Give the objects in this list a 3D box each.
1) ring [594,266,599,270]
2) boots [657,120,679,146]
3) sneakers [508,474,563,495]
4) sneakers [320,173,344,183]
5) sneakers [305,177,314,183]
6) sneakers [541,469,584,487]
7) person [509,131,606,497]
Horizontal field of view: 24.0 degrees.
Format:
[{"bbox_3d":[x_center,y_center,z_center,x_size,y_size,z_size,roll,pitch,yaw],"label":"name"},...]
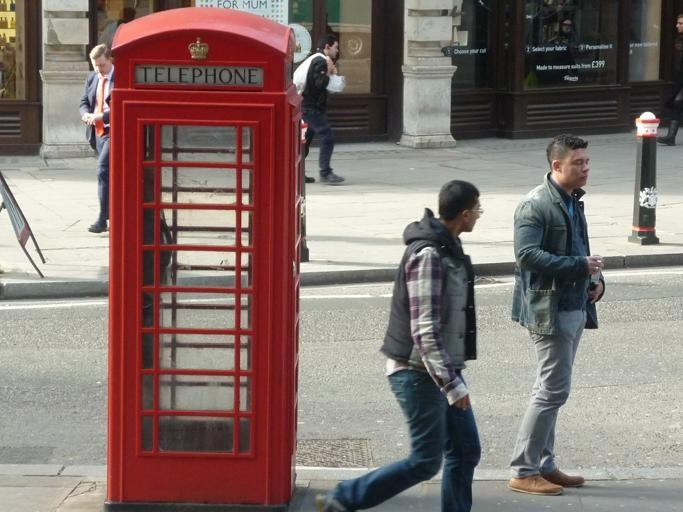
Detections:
[{"bbox_3d":[2.002,0.064,12.685,0.029,0.049,0.027,-1,38,1],"label":"ring"},{"bbox_3d":[5.441,-2.095,27.009,0.332,0.434,0.929,-1,8,11],"label":"boots"},{"bbox_3d":[1.529,1.764,12.844,0.336,0.108,0.164,-1,0,10],"label":"sneakers"},{"bbox_3d":[-0.142,-1.139,22.845,0.287,0.109,0.135,3,14,21],"label":"sneakers"},{"bbox_3d":[-0.474,-1.122,23.016,0.183,0.070,0.064,-6,17,-10],"label":"sneakers"},{"bbox_3d":[1.780,1.728,12.965,0.363,0.127,0.122,1,3,-8],"label":"sneakers"},{"bbox_3d":[1.678,0.425,12.883,0.862,2.760,0.596,-4,8,-8],"label":"person"}]
